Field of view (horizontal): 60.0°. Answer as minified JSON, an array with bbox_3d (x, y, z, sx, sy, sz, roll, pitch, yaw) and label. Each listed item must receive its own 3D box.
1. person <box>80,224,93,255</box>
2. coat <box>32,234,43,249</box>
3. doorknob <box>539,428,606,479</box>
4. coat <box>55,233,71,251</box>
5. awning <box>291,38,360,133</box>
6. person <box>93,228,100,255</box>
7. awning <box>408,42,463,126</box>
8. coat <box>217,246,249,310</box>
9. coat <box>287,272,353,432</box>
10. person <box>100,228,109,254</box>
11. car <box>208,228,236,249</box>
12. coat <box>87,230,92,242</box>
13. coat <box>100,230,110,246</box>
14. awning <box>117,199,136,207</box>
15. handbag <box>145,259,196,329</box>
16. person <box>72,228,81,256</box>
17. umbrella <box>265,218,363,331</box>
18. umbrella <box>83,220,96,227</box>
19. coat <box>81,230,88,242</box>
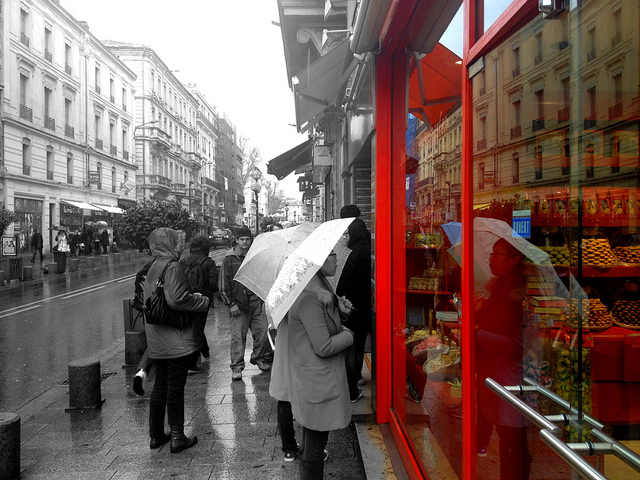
[{"bbox_3d":[-12.884,-0.084,30.711,0.520,1.593,1.585,-1,2,-20],"label":"person"},{"bbox_3d":[-13.301,-0.026,26.224,0.510,1.063,0.925,-2,5,-27],"label":"coat"},{"bbox_3d":[0.887,0.758,1.975,0.140,0.086,0.215,4,5,1],"label":"doorknob"},{"bbox_3d":[-10.716,0.031,23.070,0.384,0.742,1.211,-1,2,-26],"label":"coat"},{"bbox_3d":[0.026,-2.272,8.077,0.780,0.442,3.289,-1,2,-2],"label":"awning"},{"bbox_3d":[-12.773,0.000,31.720,0.330,1.518,0.938,-1,2,-22],"label":"person"},{"bbox_3d":[0.816,-1.108,3.866,0.192,0.491,0.290,3,8,-4],"label":"awning"},{"bbox_3d":[-1.105,0.501,7.153,0.375,0.781,0.663,-1,2,-9],"label":"coat"},{"bbox_3d":[0.002,0.786,3.986,0.472,1.112,0.340,-1,2,-2],"label":"coat"},{"bbox_3d":[-12.549,-0.012,32.202,0.387,1.297,0.837,-1,2,-22],"label":"person"},{"bbox_3d":[-6.741,-0.162,38.192,1.072,1.056,2.140,-1,9,-1],"label":"car"},{"bbox_3d":[-12.836,-0.345,30.981,0.161,0.614,0.910,-1,2,-18],"label":"coat"},{"bbox_3d":[-12.554,-0.217,32.713,0.545,1.153,0.800,-1,0,-8],"label":"coat"},{"bbox_3d":[-15.247,-3.040,43.602,0.686,0.282,1.150,28,4,10],"label":"awning"},{"bbox_3d":[-1.347,0.478,4.981,0.432,0.623,0.179,-1,2,-17],"label":"handbag"},{"bbox_3d":[-12.863,0.135,29.357,0.394,1.353,2.033,-1,2,-23],"label":"person"},{"bbox_3d":[-0.087,0.260,3.914,0.600,0.826,0.859,-1,2,-7],"label":"umbrella"},{"bbox_3d":[-13.838,-1.062,33.289,0.428,0.169,0.468,1,-9,3],"label":"umbrella"},{"bbox_3d":[-12.686,-0.297,30.027,0.420,0.874,0.600,-3,5,-26],"label":"coat"}]
